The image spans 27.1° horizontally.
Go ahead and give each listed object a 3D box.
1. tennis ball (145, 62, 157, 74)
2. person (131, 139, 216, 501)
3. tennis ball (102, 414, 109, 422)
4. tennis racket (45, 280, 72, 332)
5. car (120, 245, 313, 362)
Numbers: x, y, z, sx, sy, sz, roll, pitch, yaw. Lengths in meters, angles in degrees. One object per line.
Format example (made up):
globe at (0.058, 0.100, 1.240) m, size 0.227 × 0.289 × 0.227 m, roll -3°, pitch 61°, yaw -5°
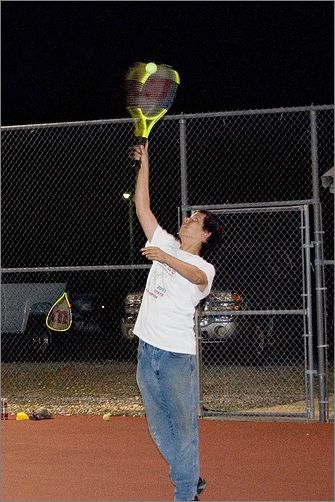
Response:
tennis ball at (-0.102, -1.135, 4.271) m, size 0.074 × 0.078 × 0.031 m, roll -2°, pitch -4°, yaw -3°
person at (0.067, 0.381, 3.750) m, size 0.515 × 2.096 × 0.679 m, roll -2°, pitch -4°, yaw 2°
tennis ball at (-0.670, 1.817, 7.578) m, size 0.074 × 0.062 × 0.077 m, roll 3°, pitch -19°, yaw 1°
tennis racket at (-1.271, 0.714, 8.097) m, size 0.275 × 0.466 × 0.915 m, roll -1°, pitch -4°, yaw -9°
car at (0.582, 0.962, 11.358) m, size 1.702 × 1.207 × 2.942 m, roll -3°, pitch -14°, yaw 18°
